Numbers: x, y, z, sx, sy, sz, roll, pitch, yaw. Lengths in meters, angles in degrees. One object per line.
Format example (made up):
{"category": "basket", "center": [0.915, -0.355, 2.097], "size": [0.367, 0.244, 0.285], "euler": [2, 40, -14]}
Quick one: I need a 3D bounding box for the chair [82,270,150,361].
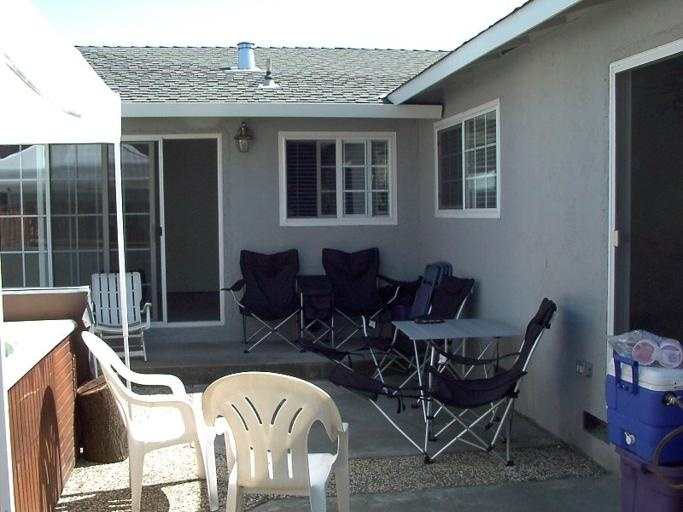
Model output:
{"category": "chair", "center": [-2.378, 0.614, 6.506], "size": [0.742, 1.185, 0.853], "euler": [-1, 0, -15]}

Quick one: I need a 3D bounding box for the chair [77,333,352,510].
{"category": "chair", "center": [-0.699, 1.054, 3.748], "size": [1.716, 1.217, 0.903], "euler": [-1, 4, -4]}

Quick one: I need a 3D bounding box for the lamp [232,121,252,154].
{"category": "lamp", "center": [-1.117, -1.360, 6.954], "size": [0.216, 0.356, 0.183], "euler": [-1, 9, -7]}
